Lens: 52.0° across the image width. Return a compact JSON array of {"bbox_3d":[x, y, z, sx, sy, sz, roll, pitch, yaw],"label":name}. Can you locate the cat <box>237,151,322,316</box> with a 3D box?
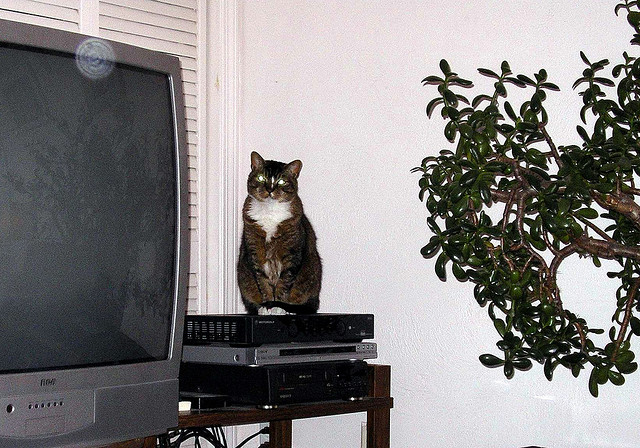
[{"bbox_3d":[-0.160,0.039,2.369,0.332,0.557,0.244,-1,-16,8],"label":"cat"}]
